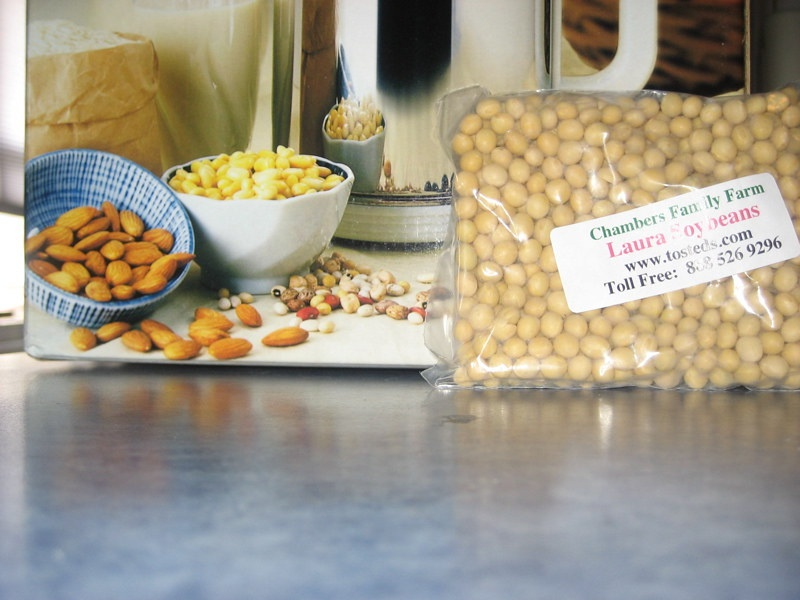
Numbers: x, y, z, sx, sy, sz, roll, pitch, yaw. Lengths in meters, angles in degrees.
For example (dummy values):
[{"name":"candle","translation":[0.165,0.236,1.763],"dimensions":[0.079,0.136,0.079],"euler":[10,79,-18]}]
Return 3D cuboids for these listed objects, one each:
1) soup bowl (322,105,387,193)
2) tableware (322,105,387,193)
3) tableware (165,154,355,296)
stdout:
[{"name":"soup bowl","translation":[-0.052,-0.188,1.044],"dimensions":[0.096,0.121,0.095],"euler":[-1,0,0]},{"name":"tableware","translation":[-0.052,-0.188,1.043],"dimensions":[0.096,0.121,0.095],"euler":[-1,0,-15]},{"name":"tableware","translation":[-0.164,-0.072,0.912],"dimensions":[0.179,0.111,0.182],"euler":[1,8,0]}]
